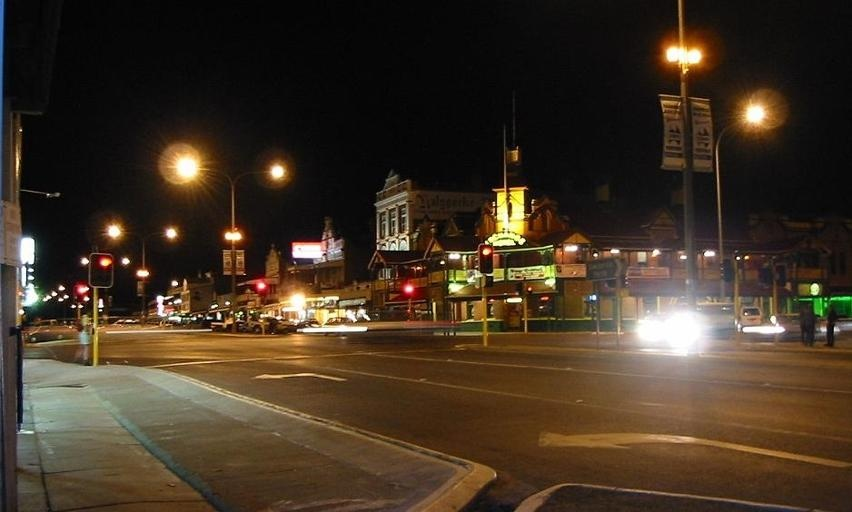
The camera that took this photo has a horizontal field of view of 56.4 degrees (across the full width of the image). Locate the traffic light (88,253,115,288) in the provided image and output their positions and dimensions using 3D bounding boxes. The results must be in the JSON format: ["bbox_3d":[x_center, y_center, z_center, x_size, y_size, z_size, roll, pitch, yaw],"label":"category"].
[{"bbox_3d":[-10.737,0.479,26.212,0.726,1.131,1.755,-1,-1,-23],"label":"traffic light"}]
